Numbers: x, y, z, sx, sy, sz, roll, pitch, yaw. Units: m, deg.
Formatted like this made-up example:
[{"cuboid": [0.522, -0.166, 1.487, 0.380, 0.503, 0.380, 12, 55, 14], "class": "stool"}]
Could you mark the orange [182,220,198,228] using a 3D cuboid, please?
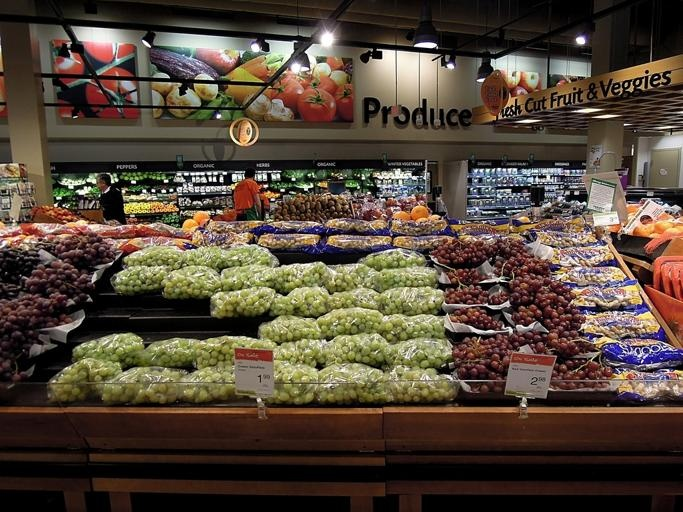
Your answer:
[{"cuboid": [-1.581, -0.329, 5.018, 0.135, 0.142, 0.129, 4, 15, 2], "class": "orange"}]

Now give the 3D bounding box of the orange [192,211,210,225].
[{"cuboid": [-1.490, -0.404, 5.152, 0.208, 0.189, 0.184, 0, 6, 10], "class": "orange"}]
